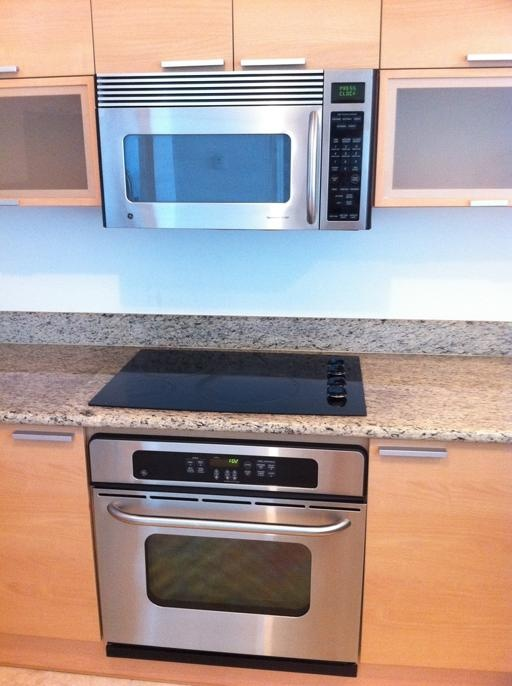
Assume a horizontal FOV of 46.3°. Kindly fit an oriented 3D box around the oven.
[{"bbox_3d":[-0.055,0.497,1.847,0.649,0.672,0.622,1,15,3],"label":"oven"}]
